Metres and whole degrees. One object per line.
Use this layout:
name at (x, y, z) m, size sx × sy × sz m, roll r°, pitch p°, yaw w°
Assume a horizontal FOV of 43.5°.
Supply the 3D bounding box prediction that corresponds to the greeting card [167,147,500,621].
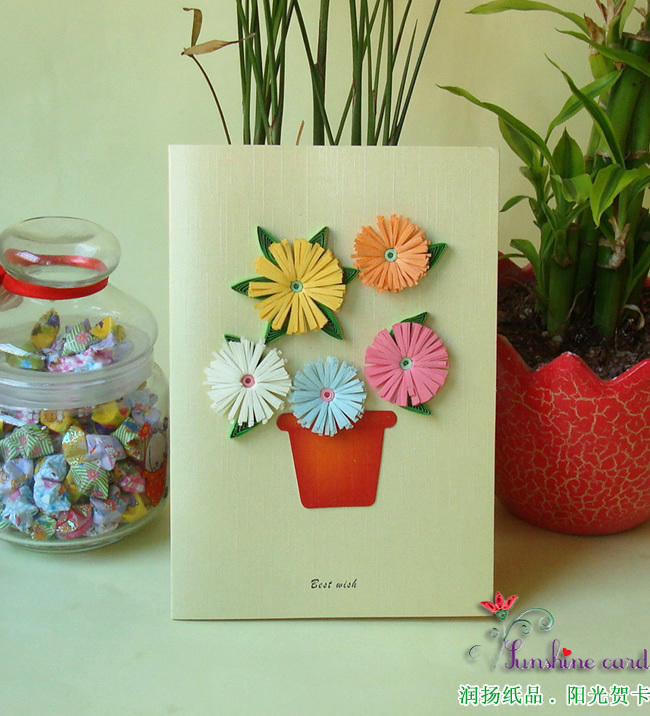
greeting card at (0.008, 0.025, 0.746) m, size 0.300 × 0.379 × 0.220 m, roll 0°, pitch 33°, yaw -1°
